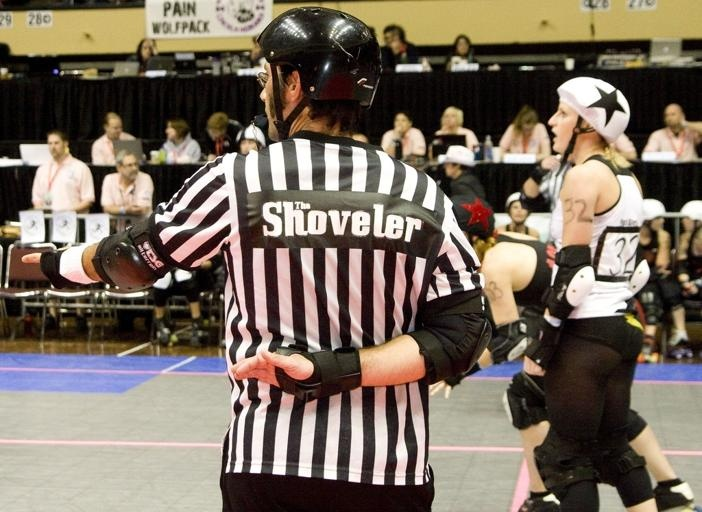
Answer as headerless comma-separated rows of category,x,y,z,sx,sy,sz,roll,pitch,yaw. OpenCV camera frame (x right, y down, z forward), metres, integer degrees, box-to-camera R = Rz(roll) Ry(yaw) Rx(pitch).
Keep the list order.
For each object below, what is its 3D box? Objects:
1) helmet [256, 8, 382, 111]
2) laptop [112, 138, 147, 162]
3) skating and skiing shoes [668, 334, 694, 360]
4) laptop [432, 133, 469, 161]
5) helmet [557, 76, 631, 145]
helmet,-0.143,-0.891,4.270,0.484,0.400,0.415,-1,10,8
laptop,-3.179,-1.535,13.250,0.445,0.345,0.310,2,17,1
skating and skiing shoes,3.862,1.086,10.958,0.159,0.198,0.455,-1,-6,8
laptop,1.319,-1.410,12.516,0.551,0.309,0.389,-7,-27,16
helmet,1.430,-0.879,5.651,0.433,0.352,0.324,20,6,-6
